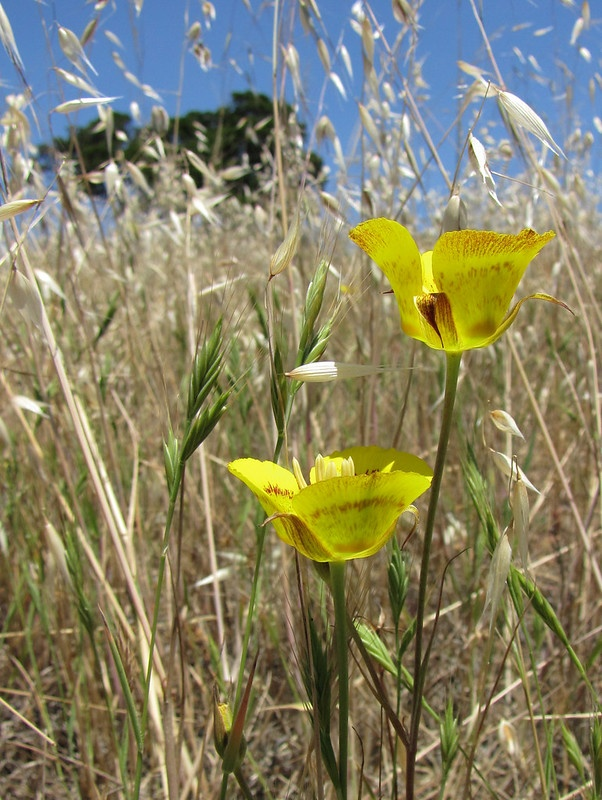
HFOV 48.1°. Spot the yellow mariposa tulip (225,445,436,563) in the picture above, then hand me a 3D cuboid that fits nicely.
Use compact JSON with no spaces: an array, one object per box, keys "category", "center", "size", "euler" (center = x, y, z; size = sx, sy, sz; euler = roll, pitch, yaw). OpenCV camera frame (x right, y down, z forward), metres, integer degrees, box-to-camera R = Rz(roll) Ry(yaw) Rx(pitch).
[{"category":"yellow mariposa tulip","center":[0.049,0.124,0.794],"size":[0.146,0.128,0.167],"euler":[6,-1,-18]}]
